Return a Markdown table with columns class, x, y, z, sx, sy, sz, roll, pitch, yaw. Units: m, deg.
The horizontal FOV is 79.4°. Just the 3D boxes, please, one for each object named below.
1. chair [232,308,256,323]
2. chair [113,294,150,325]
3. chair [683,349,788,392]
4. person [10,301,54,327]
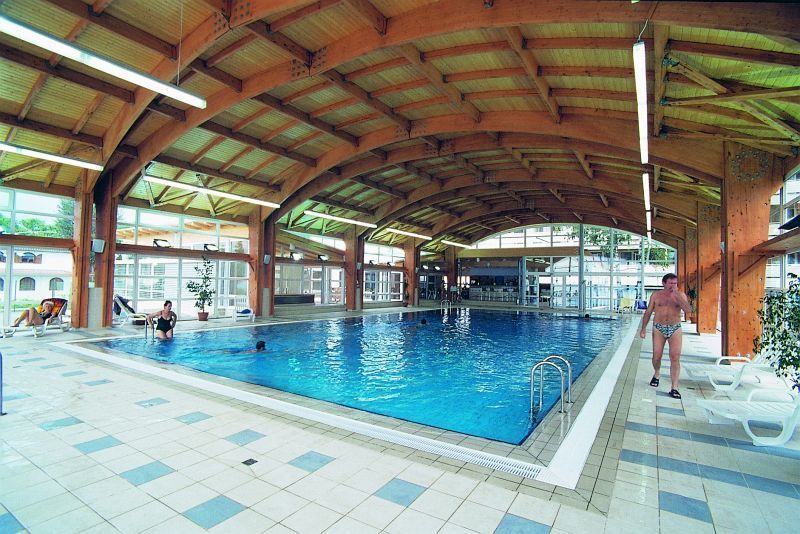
| class | x | y | z | sx | sy | sz | roll | pitch | yaw |
| --- | --- | --- | --- | --- | --- | --- | --- | --- | --- |
| chair | -6.366 | 1.969 | 19.605 | 0.904 | 0.382 | 0.626 | -3 | -4 | 41 |
| chair | -9.556 | 1.515 | 16.992 | 0.945 | 0.498 | 1.416 | 0 | 0 | -24 |
| chair | 6.748 | 2.032 | 9.506 | 1.675 | 0.329 | 0.919 | 0 | 0 | 12 |
| person | -10.775 | 1.408 | 14.134 | 0.658 | 0.613 | 1.227 | -2 | 13 | -8 |
